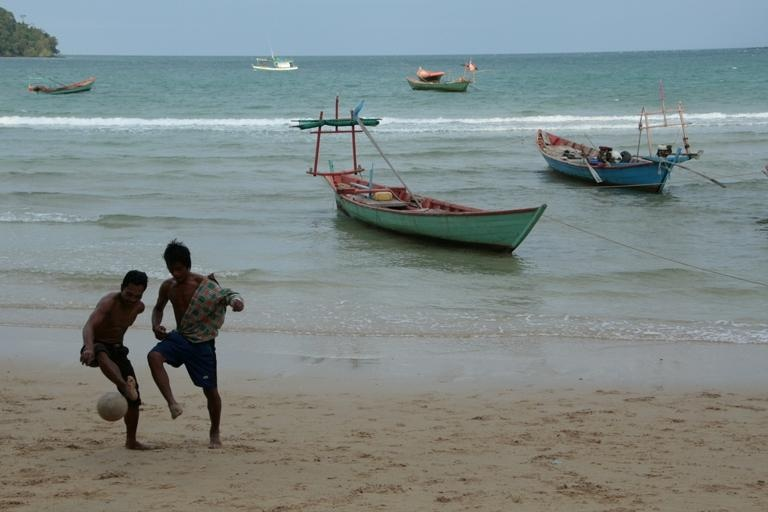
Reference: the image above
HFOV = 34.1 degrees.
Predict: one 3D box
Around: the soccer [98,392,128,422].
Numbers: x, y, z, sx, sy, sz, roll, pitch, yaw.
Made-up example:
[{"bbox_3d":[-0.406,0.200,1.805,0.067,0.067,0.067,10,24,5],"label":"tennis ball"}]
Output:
[{"bbox_3d":[-5.206,2.913,24.190,0.573,0.567,0.263,-2,11,-10],"label":"soccer"}]
